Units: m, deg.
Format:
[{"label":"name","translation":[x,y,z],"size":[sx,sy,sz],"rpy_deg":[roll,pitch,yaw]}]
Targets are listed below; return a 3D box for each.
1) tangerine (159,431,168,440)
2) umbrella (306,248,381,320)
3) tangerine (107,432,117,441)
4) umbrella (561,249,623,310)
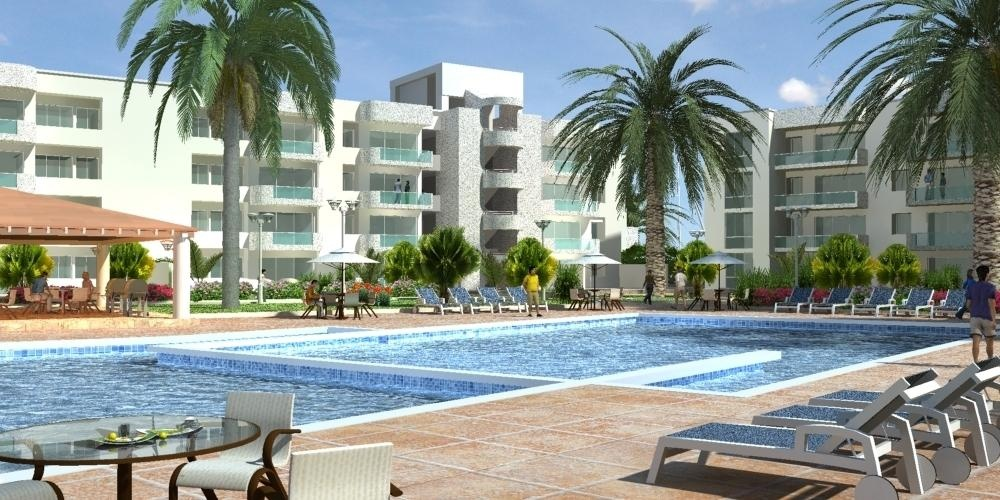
[{"label":"tangerine","translation":[-5.371,2.959,12.176],"size":[0.107,0.079,0.112],"rpy_deg":[0,-1,-42]},{"label":"umbrella","translation":[-7.798,1.178,37.758],"size":[3.007,2.722,3.076],"rpy_deg":[5,9,18]},{"label":"tangerine","translation":[-6.116,2.941,12.070],"size":[0.129,0.120,0.147],"rpy_deg":[0,-19,2]},{"label":"umbrella","translation":[4.707,1.342,44.290],"size":[4.215,3.317,3.771],"rpy_deg":[1,3,9]}]
